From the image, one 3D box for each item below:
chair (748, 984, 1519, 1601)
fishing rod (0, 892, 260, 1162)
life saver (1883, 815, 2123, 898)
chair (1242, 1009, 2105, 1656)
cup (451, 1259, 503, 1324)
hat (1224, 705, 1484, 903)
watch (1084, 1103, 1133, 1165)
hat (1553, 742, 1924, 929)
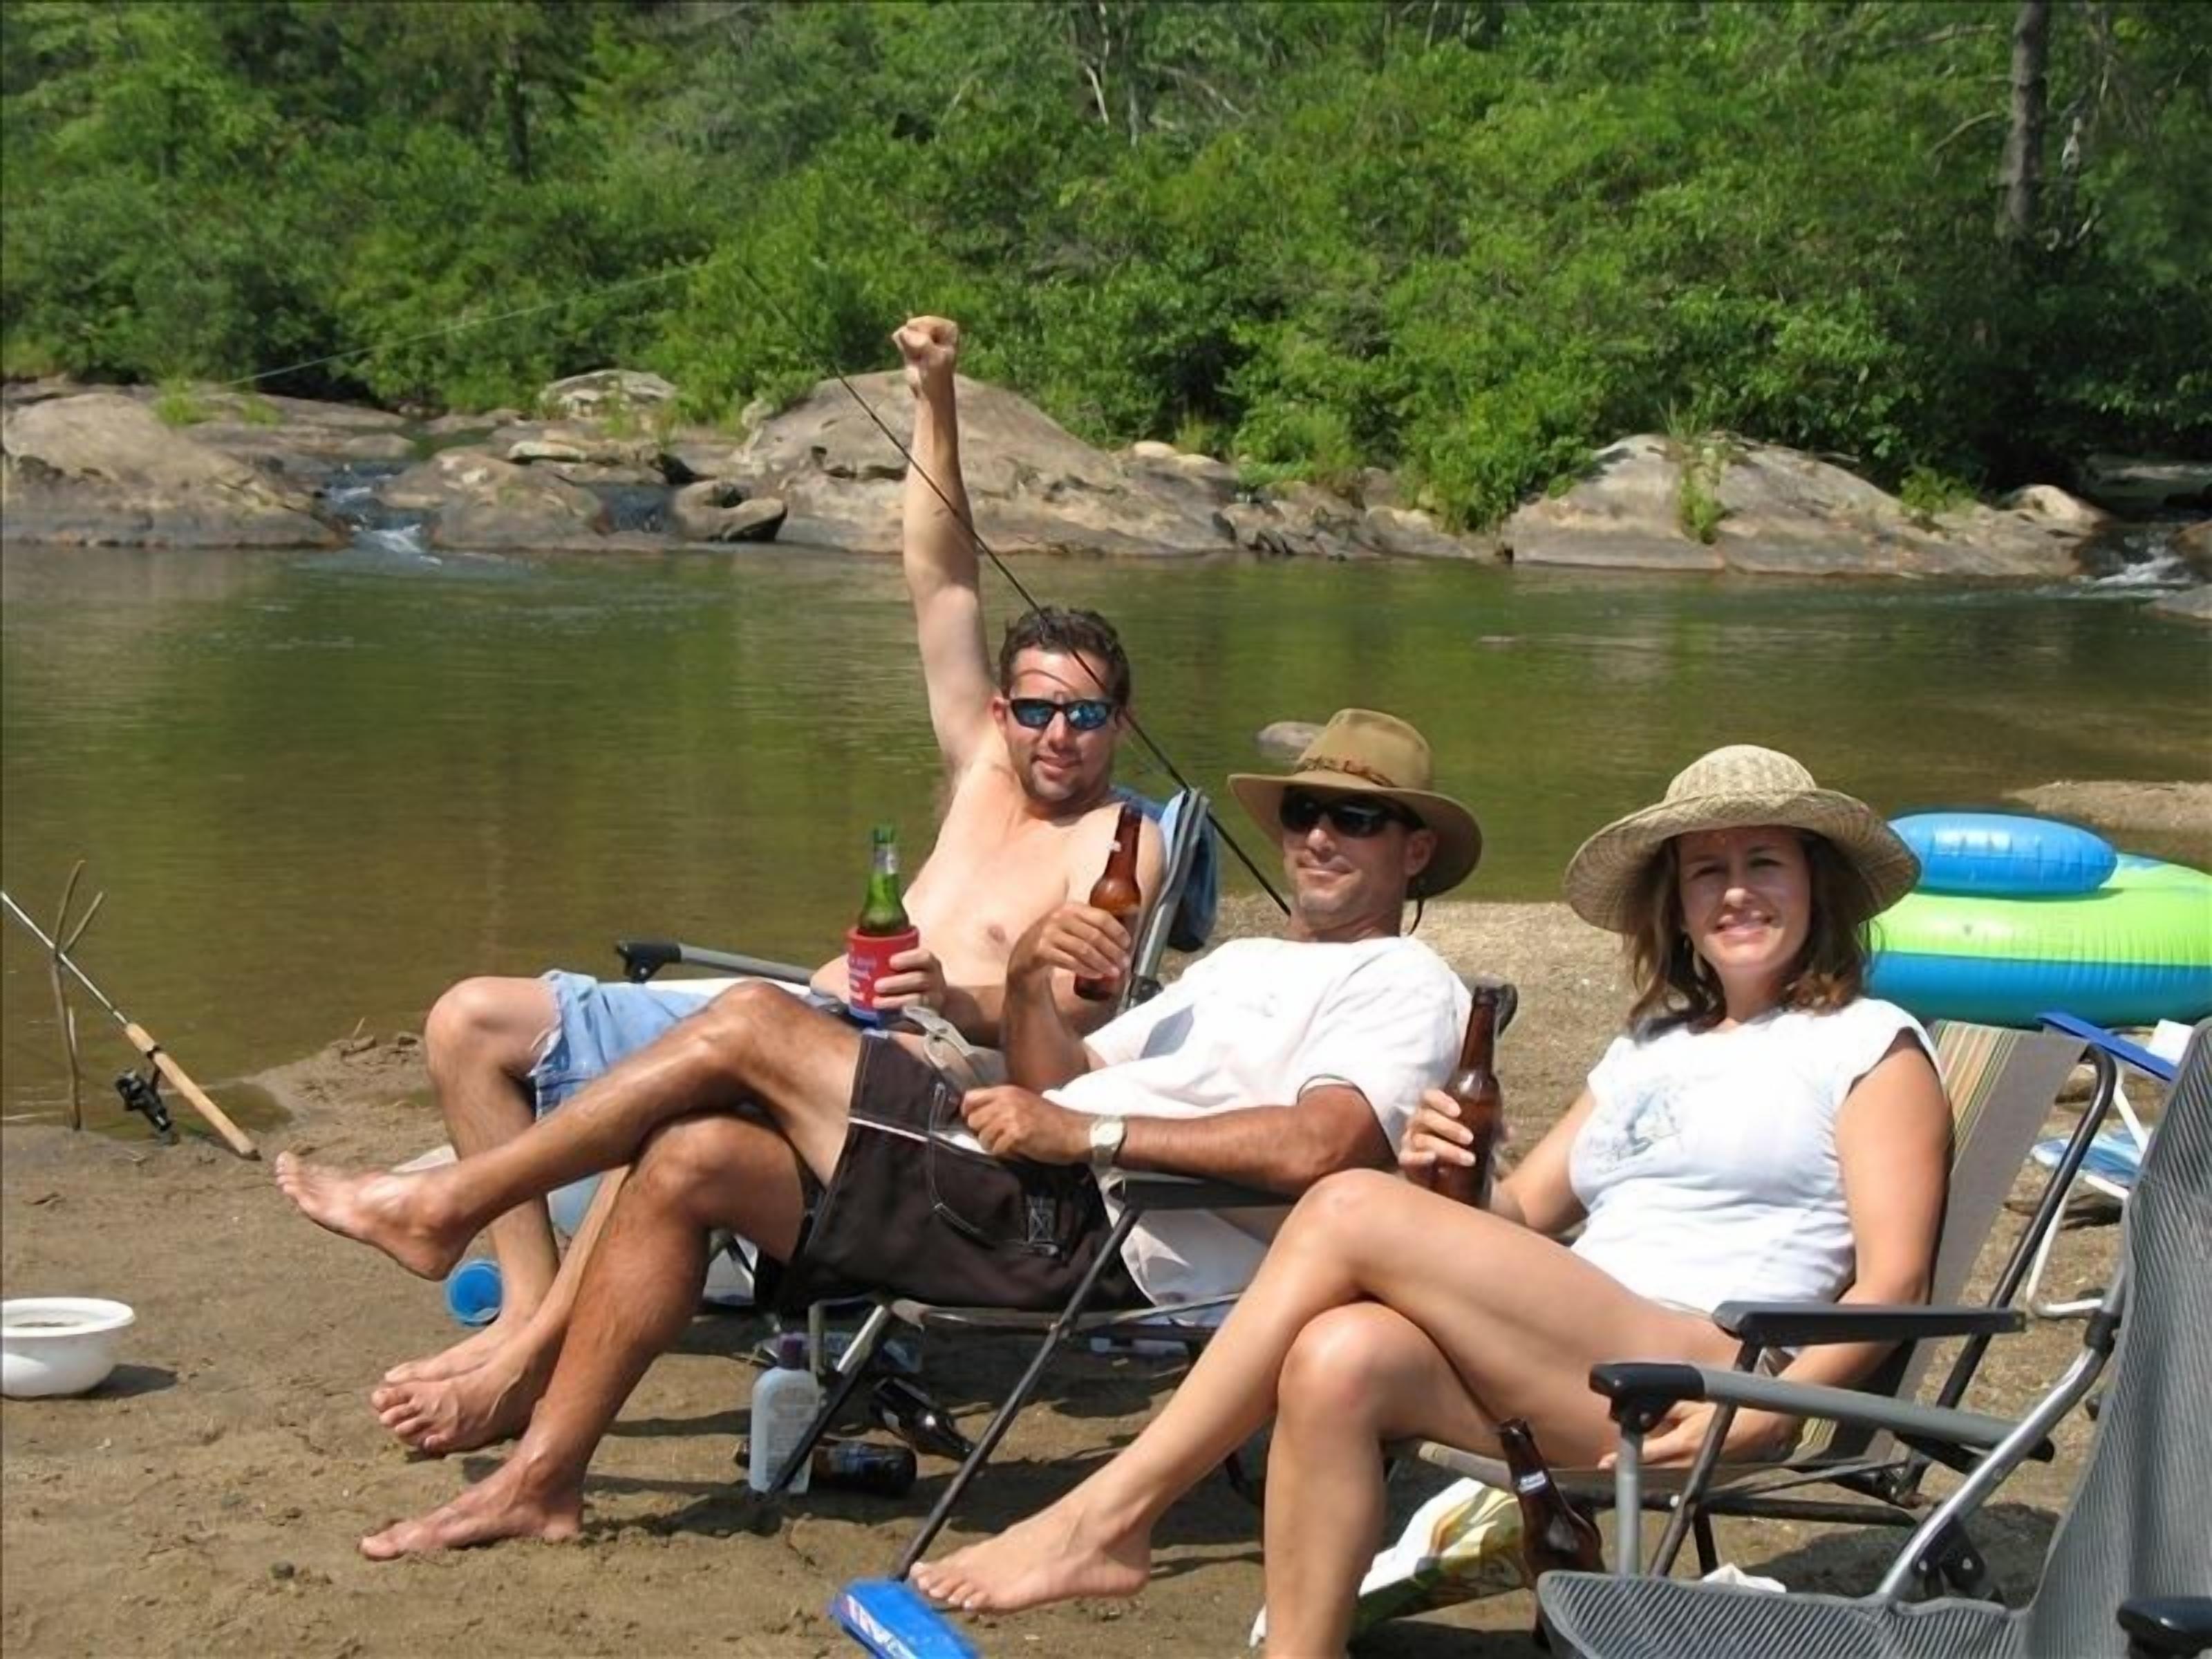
[{"bbox_3d":[0.175,0.960,6.227,1.811,1.234,1.147,7,-2,-11],"label":"chair"},{"bbox_3d":[-3.180,0.669,8.770,1.470,0.060,0.065,34,-7,36],"label":"fishing rod"},{"bbox_3d":[2.917,0.081,8.696,0.795,0.196,0.534,4,8,18],"label":"life saver"},{"bbox_3d":[1.450,0.982,5.705,2.052,0.994,1.076,-6,1,-5],"label":"chair"},{"bbox_3d":[-1.518,1.107,6.450,0.147,0.155,0.061,14,-12,-28],"label":"cup"},{"bbox_3d":[0.641,-0.086,6.009,0.480,0.207,0.534,5,-24,30],"label":"hat"},{"bbox_3d":[0.004,0.649,5.653,0.085,0.088,0.096,-1,-17,14],"label":"watch"},{"bbox_3d":[1.299,0.008,5.641,0.604,0.177,0.484,-10,-35,20],"label":"hat"}]
